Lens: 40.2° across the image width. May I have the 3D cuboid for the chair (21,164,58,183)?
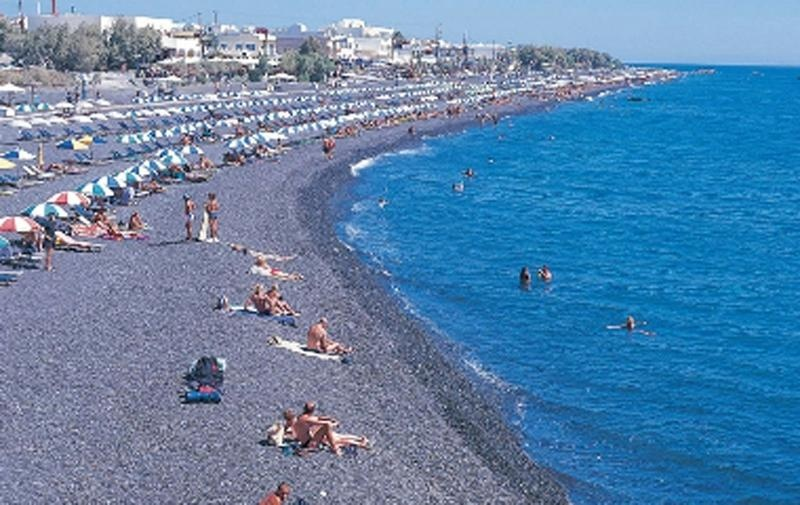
[{"bbox_3d":[-25.410,-5.444,75.699,1.794,0.566,1.319,10,20,23],"label":"chair"}]
